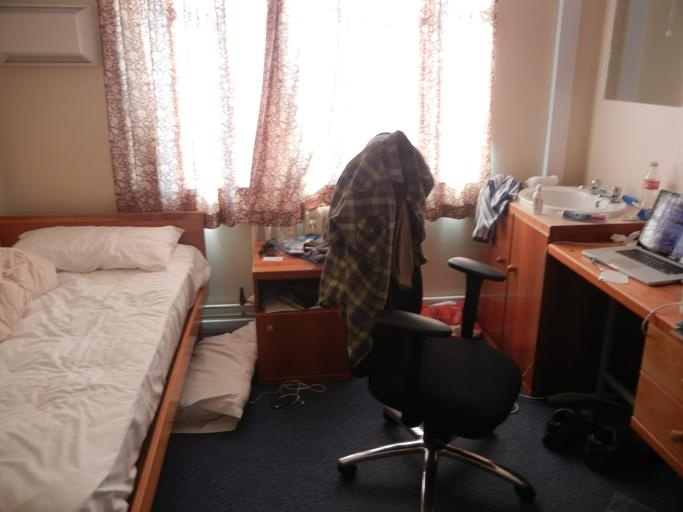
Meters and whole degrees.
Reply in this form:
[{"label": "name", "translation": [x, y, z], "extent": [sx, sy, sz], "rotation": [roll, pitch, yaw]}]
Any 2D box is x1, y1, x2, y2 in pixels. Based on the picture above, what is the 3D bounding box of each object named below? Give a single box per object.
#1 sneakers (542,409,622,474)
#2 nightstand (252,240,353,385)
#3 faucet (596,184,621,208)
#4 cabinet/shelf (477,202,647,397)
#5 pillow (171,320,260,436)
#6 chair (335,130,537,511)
[{"label": "sneakers", "translation": [1.183, 0.881, 2.411], "extent": [0.216, 0.115, 0.330], "rotation": [3, 22, 37]}, {"label": "nightstand", "translation": [-0.156, 0.333, 3.099], "extent": [0.588, 0.672, 0.781], "rotation": [-2, 16, -2]}, {"label": "faucet", "translation": [1.499, -0.331, 2.753], "extent": [0.121, 0.056, 0.170], "rotation": [4, 19, 23]}, {"label": "cabinet/shelf", "translation": [1.173, 0.238, 2.534], "extent": [0.530, 0.859, 0.912], "rotation": [2, 17, -2]}, {"label": "pillow", "translation": [-0.745, 0.677, 2.962], "extent": [0.523, 0.225, 0.844], "rotation": [5, 26, 3]}, {"label": "chair", "translation": [0.329, 0.125, 1.960], "extent": [0.812, 1.195, 0.636], "rotation": [-2, 19, -3]}]
